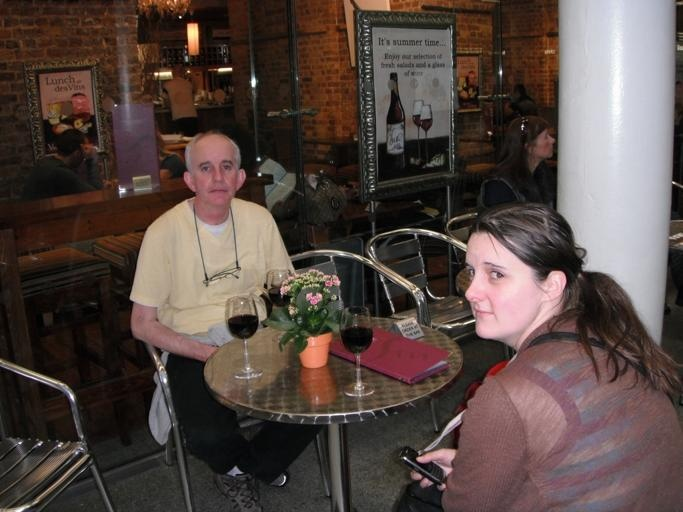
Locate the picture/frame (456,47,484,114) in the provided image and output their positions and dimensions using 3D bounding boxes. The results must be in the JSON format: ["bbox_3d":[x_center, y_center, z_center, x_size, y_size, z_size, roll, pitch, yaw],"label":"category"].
[{"bbox_3d":[1.128,-1.590,4.647,0.353,0.526,0.103,-18,22,-39],"label":"picture/frame"}]

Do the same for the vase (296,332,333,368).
[{"bbox_3d":[-0.105,0.328,1.876,0.125,0.099,0.120,-5,12,-8],"label":"vase"}]

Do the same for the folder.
[{"bbox_3d":[0.191,0.362,1.849,0.250,0.037,0.180,19,28,40],"label":"folder"}]

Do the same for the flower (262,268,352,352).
[{"bbox_3d":[-0.121,0.181,1.886,0.285,0.253,0.250,-3,16,-1],"label":"flower"}]

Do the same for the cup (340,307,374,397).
[{"bbox_3d":[0.045,0.304,1.751,0.106,0.243,0.317,-4,17,1],"label":"cup"}]

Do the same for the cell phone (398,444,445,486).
[{"bbox_3d":[0.219,0.581,1.434,0.144,0.035,0.083,35,22,-6],"label":"cell phone"}]

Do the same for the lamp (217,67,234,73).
[{"bbox_3d":[-0.825,-1.302,3.576,0.054,0.050,0.201,0,18,13],"label":"lamp"}]

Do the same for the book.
[{"bbox_3d":[0.197,0.361,1.852,0.251,0.035,0.180,19,29,40],"label":"book"}]

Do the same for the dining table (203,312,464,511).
[{"bbox_3d":[-0.101,0.646,1.795,0.733,0.533,0.744,-8,29,-13],"label":"dining table"}]
